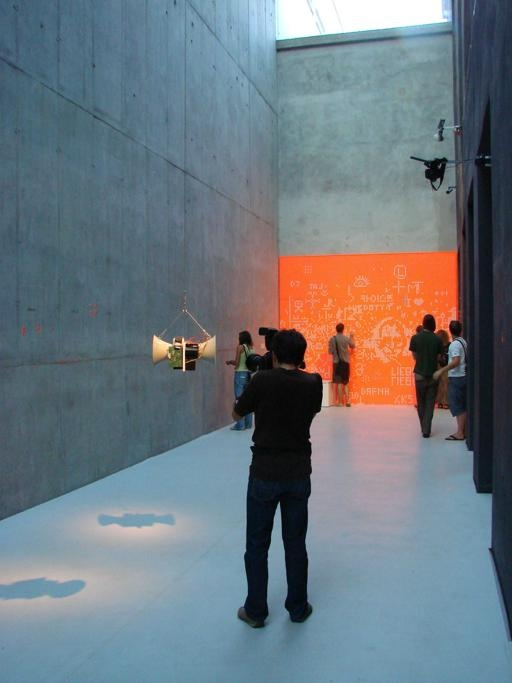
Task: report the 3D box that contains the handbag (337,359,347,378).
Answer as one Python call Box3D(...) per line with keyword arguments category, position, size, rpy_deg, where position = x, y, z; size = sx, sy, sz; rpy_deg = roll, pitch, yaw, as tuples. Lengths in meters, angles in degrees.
Box3D(category="handbag", position=(1.642, 0.492, 10.238), size=(0.228, 0.488, 0.217), rpy_deg=(1, -3, -5))

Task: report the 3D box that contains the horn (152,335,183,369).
Box3D(category="horn", position=(-0.733, 0.085, 4.415), size=(0.229, 0.253, 0.379), rpy_deg=(1, -3, -38))

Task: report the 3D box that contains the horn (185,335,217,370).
Box3D(category="horn", position=(-0.462, 0.082, 4.422), size=(0.200, 0.187, 0.213), rpy_deg=(1, 0, -2))

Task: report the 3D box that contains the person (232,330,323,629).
Box3D(category="person", position=(0.089, 0.621, 2.156), size=(0.343, 1.020, 0.256), rpy_deg=(0, -2, 4))

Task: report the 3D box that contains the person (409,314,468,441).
Box3D(category="person", position=(2.326, 0.435, 6.771), size=(0.686, 1.560, 1.234), rpy_deg=(0, -2, -2))

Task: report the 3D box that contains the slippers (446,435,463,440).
Box3D(category="slippers", position=(2.472, 1.193, 6.674), size=(0.161, 0.061, 0.081), rpy_deg=(1, -3, -13))

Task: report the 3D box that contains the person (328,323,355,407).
Box3D(category="person", position=(1.662, 0.457, 10.464), size=(0.493, 1.572, 0.738), rpy_deg=(-1, -2, 12))
